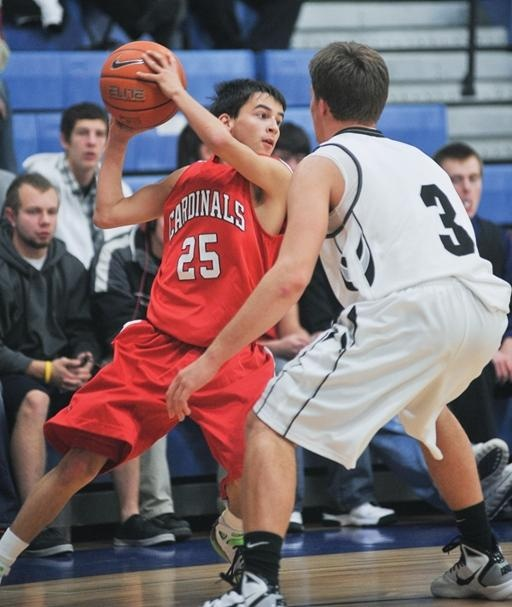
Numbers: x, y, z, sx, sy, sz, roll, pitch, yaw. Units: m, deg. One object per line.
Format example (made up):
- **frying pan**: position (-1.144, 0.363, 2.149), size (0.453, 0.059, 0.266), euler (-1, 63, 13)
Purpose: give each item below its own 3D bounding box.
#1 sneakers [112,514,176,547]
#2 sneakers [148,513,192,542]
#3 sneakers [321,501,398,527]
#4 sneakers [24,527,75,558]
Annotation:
- **sneakers**: position (-0.385, 0.796, 3.315), size (0.249, 0.096, 0.087), euler (-5, -14, 23)
- **sneakers**: position (-0.286, 0.782, 3.328), size (0.065, 0.066, 0.174), euler (-2, -4, -44)
- **sneakers**: position (0.391, 0.795, 3.620), size (0.263, 0.105, 0.091), euler (-6, -7, 17)
- **sneakers**: position (-0.673, 0.780, 3.132), size (0.187, 0.069, 0.062), euler (14, -32, -27)
